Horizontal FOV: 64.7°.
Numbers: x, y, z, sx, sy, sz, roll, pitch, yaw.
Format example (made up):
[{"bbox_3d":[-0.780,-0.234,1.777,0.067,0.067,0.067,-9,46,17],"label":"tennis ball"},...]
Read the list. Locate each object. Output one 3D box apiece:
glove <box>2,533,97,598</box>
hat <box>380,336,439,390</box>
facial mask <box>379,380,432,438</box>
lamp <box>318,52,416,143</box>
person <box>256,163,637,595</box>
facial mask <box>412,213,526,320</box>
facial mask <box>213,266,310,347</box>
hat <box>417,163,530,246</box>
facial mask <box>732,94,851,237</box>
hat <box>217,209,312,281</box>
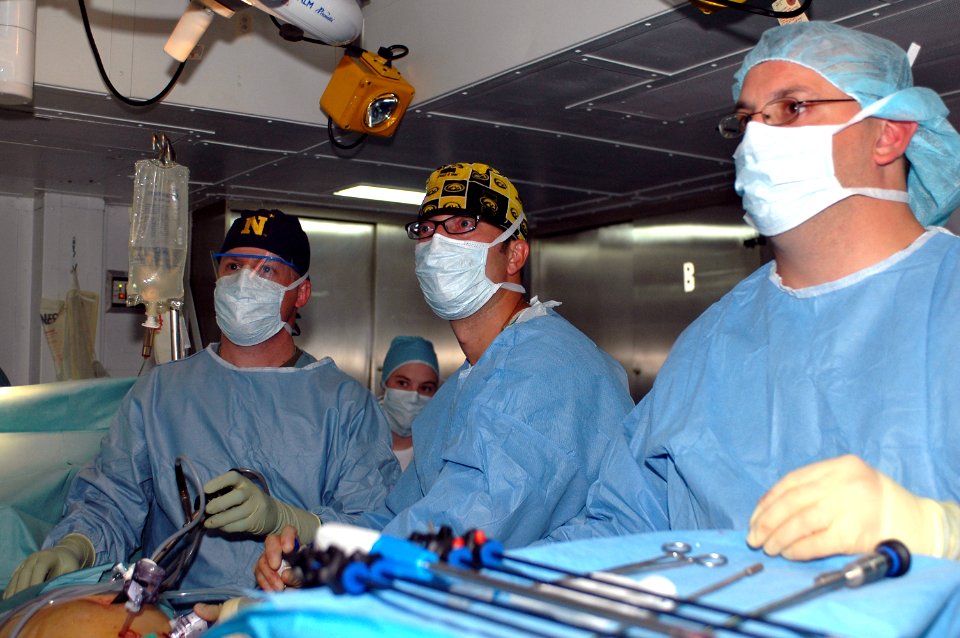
[{"bbox_3d":[-1.222,0.710,2.150,0.094,0.123,0.196,12,13,20],"label":"glove"},{"bbox_3d":[-0.321,0.240,3.739,0.229,0.245,0.252,17,-19,-37],"label":"hat"},{"bbox_3d":[-0.369,0.444,3.720,0.224,0.237,0.261,10,-1,-10],"label":"facial mask"},{"bbox_3d":[-0.405,-0.893,2.901,0.233,0.304,0.276,-3,47,-43],"label":"lamp"},{"bbox_3d":[0.060,0.314,2.623,1.252,1.484,1.093,7,-29,-13],"label":"person"},{"bbox_3d":[-0.026,-0.155,2.303,0.280,0.192,0.244,-13,10,-43],"label":"facial mask"},{"bbox_3d":[-0.801,-0.037,2.719,0.241,0.191,0.263,3,1,7],"label":"facial mask"},{"bbox_3d":[-0.022,-0.344,2.304,0.215,0.161,0.287,17,2,28],"label":"hat"},{"bbox_3d":[0.665,-0.336,1.645,0.264,0.194,0.235,-11,8,-16],"label":"facial mask"},{"bbox_3d":[-0.754,-0.278,2.761,0.224,0.197,0.286,15,-8,25],"label":"hat"}]
